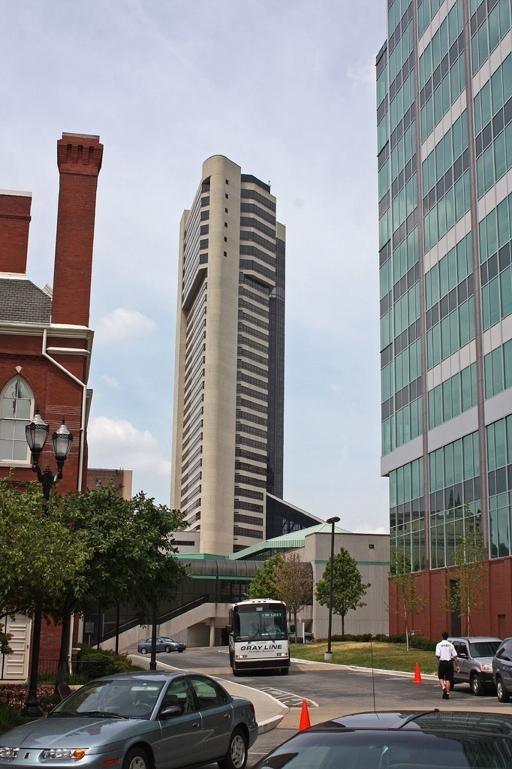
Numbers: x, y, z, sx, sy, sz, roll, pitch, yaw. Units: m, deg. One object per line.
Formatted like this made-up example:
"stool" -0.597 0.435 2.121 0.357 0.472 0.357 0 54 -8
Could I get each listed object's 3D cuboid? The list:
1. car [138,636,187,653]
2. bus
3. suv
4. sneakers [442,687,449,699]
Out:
"car" -8.204 22.350 69.959 3.238 1.241 4.631 4 -17 -15
"bus" 0.143 10.391 33.943 2.337 2.731 1.336 3 -16 -14
"suv" 6.639 8.191 24.087 1.143 1.206 2.611 3 -28 -6
"sneakers" 5.096 8.465 22.086 0.175 0.505 0.210 -3 16 13
